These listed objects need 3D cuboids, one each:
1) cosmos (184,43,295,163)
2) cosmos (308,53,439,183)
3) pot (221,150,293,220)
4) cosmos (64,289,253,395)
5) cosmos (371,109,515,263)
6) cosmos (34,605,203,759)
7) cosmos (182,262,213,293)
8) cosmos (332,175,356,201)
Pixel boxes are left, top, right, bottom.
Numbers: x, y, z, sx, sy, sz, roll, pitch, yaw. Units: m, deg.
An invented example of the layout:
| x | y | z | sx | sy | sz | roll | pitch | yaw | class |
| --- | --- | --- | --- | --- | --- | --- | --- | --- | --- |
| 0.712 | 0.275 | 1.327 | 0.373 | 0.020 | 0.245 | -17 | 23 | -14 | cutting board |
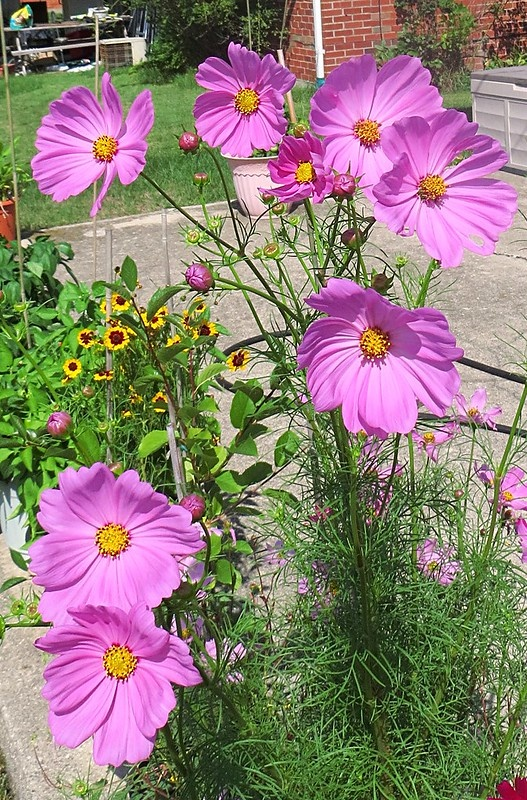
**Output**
| x | y | z | sx | sy | sz | roll | pitch | yaw | class |
| --- | --- | --- | --- | --- | --- | --- | --- | --- | --- |
| -0.020 | -0.446 | 0.877 | 0.138 | 0.055 | 0.156 | -7 | -5 | -23 | cosmos |
| 0.117 | -0.329 | 0.691 | 0.135 | 0.057 | 0.137 | 5 | -11 | -27 | cosmos |
| 0.065 | -1.844 | 5.277 | 0.676 | 0.548 | 0.629 | 4 | 14 | -1 | pot |
| -0.333 | -0.161 | 1.807 | 0.565 | 0.100 | 0.581 | 10 | -1 | 10 | cosmos |
| 0.160 | -0.171 | 0.593 | 0.160 | 0.156 | 0.063 | -1 | 5 | -22 | cosmos |
| -0.116 | 0.211 | 0.459 | 0.123 | 0.120 | 0.065 | 9 | 24 | 28 | cosmos |
| -0.092 | -0.172 | 0.857 | 0.034 | 0.036 | 0.044 | 10 | 5 | 22 | cosmos |
| 0.086 | -0.228 | 0.644 | 0.024 | 0.025 | 0.015 | -30 | -3 | 6 | cosmos |
